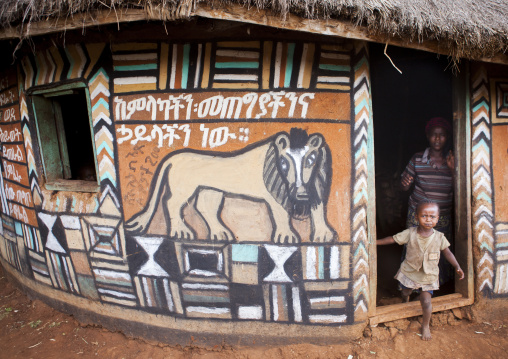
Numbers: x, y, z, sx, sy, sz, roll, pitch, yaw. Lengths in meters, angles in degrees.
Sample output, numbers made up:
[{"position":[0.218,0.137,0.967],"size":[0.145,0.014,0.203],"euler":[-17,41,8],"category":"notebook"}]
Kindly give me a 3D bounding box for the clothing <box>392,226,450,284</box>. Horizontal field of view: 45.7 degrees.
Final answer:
[{"position":[2.225,1.024,8.139],"size":[0.702,0.760,0.400],"euler":[7,6,24],"category":"clothing"}]

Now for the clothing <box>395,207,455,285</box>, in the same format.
[{"position":[2.514,1.046,8.858],"size":[0.777,1.225,0.702],"euler":[-12,15,6],"category":"clothing"}]

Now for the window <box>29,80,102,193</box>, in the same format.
[{"position":[-2.630,-0.569,8.721],"size":[1.084,1.443,1.372],"euler":[-9,3,-31],"category":"window"}]

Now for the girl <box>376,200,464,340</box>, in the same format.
[{"position":[2.205,1.165,8.197],"size":[1.019,1.954,0.815],"euler":[15,30,37],"category":"girl"}]

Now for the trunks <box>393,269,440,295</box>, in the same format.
[{"position":[2.171,1.390,8.129],"size":[0.328,0.153,0.459],"euler":[-1,16,-44],"category":"trunks"}]

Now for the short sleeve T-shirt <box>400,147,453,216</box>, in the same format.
[{"position":[2.475,0.033,8.551],"size":[0.914,1.140,0.562],"euler":[2,13,9],"category":"short sleeve T-shirt"}]

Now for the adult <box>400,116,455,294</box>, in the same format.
[{"position":[2.516,0.347,8.695],"size":[0.851,2.583,0.786],"euler":[-4,28,6],"category":"adult"}]
